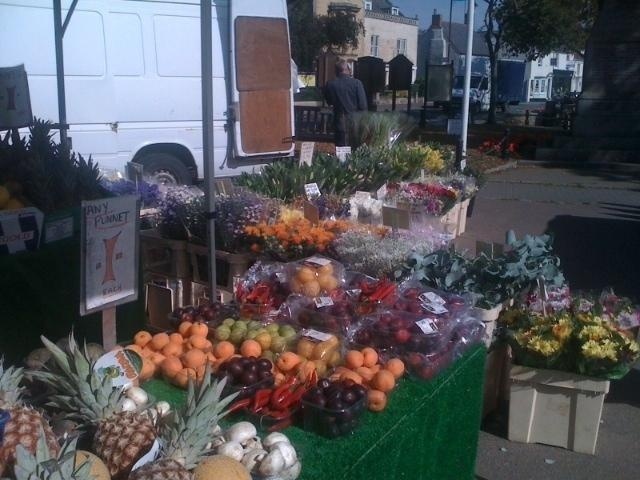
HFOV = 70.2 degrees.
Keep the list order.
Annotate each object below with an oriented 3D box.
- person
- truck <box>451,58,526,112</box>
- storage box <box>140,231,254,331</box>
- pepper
[{"bbox_3d":[0.460,-2.487,8.236,0.744,1.448,0.661,-12,18,-42],"label":"person"},{"bbox_3d":[14.764,-13.482,40.183,8.570,4.979,2.866,-13,18,-40],"label":"truck"},{"bbox_3d":[-1.133,0.314,4.014,0.597,0.678,0.917,5,3,37],"label":"storage box"},{"bbox_3d":[-0.213,0.671,2.036,0.260,0.199,0.334,10,18,35],"label":"pepper"}]
